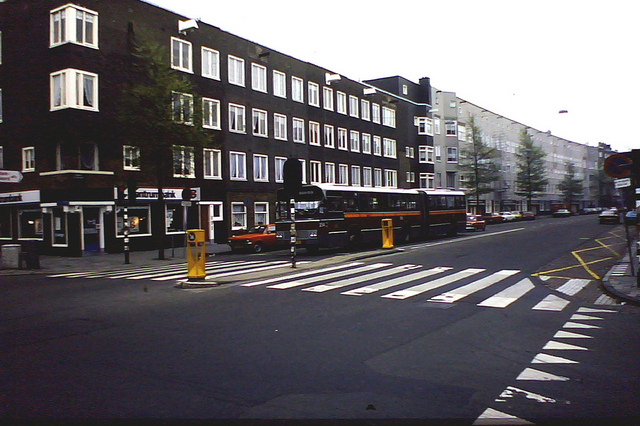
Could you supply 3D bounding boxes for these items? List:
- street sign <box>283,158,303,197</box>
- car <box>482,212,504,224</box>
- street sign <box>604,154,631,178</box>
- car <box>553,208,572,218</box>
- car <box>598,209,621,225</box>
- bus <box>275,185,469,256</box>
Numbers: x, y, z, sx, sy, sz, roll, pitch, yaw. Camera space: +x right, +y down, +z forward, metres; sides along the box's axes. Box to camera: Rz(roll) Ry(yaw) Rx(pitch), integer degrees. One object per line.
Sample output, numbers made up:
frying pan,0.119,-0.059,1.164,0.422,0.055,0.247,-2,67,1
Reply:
street sign,-1.185,-1.249,22.846,0.273,2.046,1.024,-15,14,4
car,19.101,0.678,65.805,2.814,0.696,1.544,2,-3,-39
street sign,8.637,-1.325,17.316,0.717,0.663,0.455,2,10,25
car,31.438,0.172,76.863,1.092,0.710,2.595,4,8,43
car,25.286,0.421,51.566,1.101,0.703,2.776,4,8,40
bus,3.737,0.358,35.196,3.990,3.735,17.697,-2,-1,43
